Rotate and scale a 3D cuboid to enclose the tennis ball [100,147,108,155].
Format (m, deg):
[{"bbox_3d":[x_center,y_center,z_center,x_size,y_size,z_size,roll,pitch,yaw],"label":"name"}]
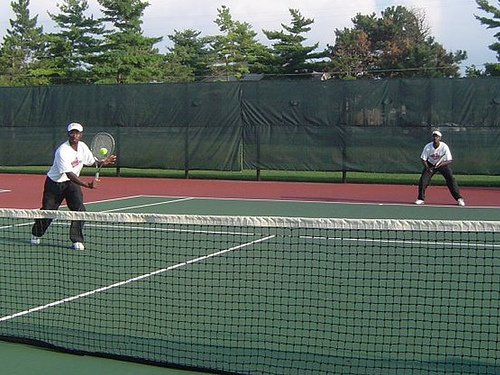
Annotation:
[{"bbox_3d":[-2.389,-0.595,11.377,0.105,0.088,0.060,10,-11,36],"label":"tennis ball"}]
